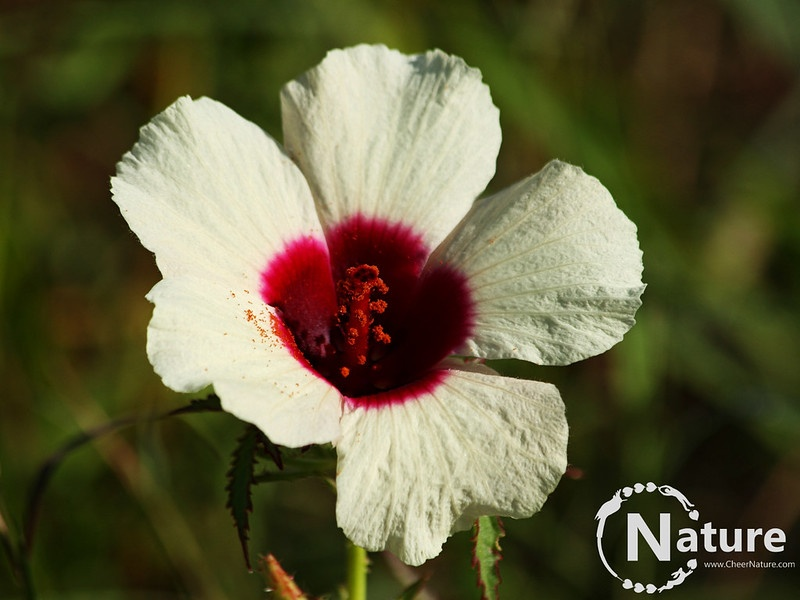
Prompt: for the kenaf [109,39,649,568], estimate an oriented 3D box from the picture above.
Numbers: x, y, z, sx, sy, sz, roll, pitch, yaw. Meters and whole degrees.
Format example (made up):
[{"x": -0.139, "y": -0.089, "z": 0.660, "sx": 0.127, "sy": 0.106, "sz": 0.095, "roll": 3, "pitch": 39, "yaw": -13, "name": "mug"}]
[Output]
[{"x": -0.059, "y": 0.011, "z": 1.576, "sx": 0.888, "sy": 0.405, "sz": 1.132, "roll": -5, "pitch": 47, "yaw": -9, "name": "kenaf"}]
